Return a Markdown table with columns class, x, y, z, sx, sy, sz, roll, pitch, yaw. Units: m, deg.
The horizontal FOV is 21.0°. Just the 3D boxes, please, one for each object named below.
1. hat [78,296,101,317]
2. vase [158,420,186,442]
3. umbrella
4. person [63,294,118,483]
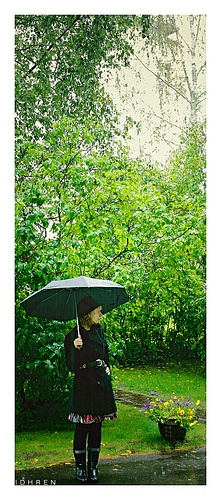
| class | x | y | z | sx | sy | sz | roll | pitch | yaw |
| --- | --- | --- | --- | --- | --- | --- | --- | --- | --- |
| hat | -0.205 | 0.526 | 5.556 | 0.168 | 0.092 | 0.200 | -29 | -8 | -31 |
| vase | 0.643 | 1.888 | 6.280 | 0.219 | 0.159 | 0.231 | 1 | -20 | 0 |
| umbrella | -0.350 | 0.513 | 5.965 | 1.061 | 0.661 | 1.069 | -1 | 19 | 7 |
| person | -0.188 | 1.321 | 5.630 | 0.467 | 1.755 | 0.434 | 0 | -2 | 2 |
